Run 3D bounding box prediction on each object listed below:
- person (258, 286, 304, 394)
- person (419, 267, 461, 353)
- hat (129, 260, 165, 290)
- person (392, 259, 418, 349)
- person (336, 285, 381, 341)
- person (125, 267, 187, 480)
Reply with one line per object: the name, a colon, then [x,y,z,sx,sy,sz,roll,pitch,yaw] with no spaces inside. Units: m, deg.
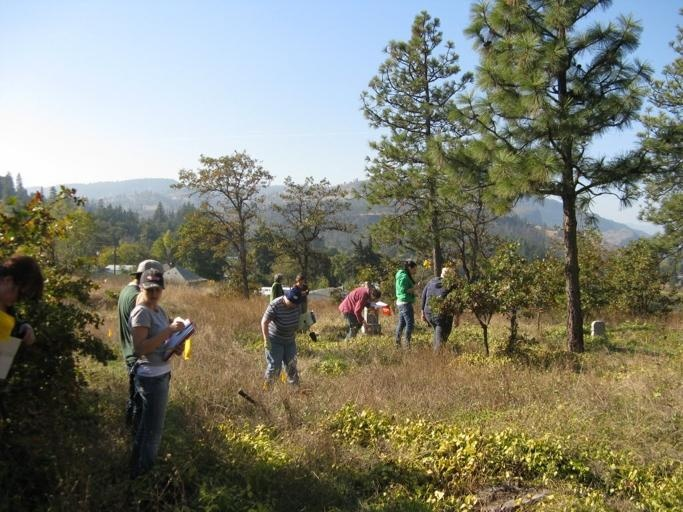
person: [-1.076,1.458,13.082,0.690,1.790,0.689,0,12,-5]
person: [2.169,1.161,15.879,0.669,1.712,0.893,2,12,3]
hat: [-2.837,0.214,10.541,0.506,0.321,0.384,0,-2,-19]
person: [1.476,1.061,16.607,0.438,2.038,0.765,2,12,6]
person: [0.422,1.026,17.457,1.117,1.835,1.128,1,41,-5]
person: [-2.692,1.645,10.299,0.706,2.774,0.698,-3,12,-19]
